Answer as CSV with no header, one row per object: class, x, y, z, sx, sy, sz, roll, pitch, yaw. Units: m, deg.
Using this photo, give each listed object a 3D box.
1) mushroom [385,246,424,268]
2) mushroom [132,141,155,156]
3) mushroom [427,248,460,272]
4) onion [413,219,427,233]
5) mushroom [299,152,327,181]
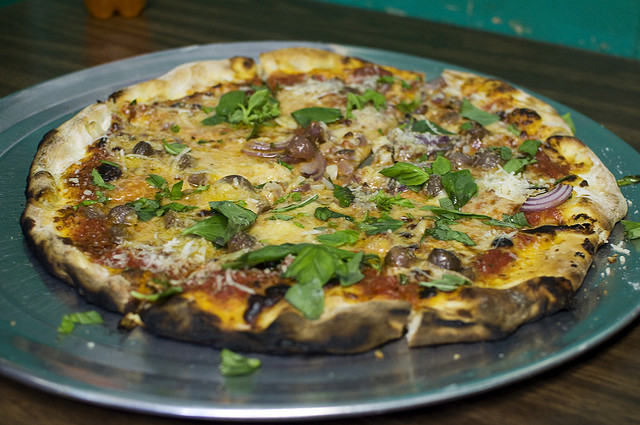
mushroom,0.442,0.243,3.674,0.145,0.046,0.158,22,35,39
mushroom,-1.133,-0.406,4.300,0.131,0.049,0.100,21,46,9
mushroom,0.680,0.259,3.666,0.168,0.045,0.149,26,24,26
onion,0.589,0.078,3.911,0.093,0.019,0.058,-30,43,-20
mushroom,-0.016,-0.306,4.376,0.207,0.051,0.179,-30,59,-16
